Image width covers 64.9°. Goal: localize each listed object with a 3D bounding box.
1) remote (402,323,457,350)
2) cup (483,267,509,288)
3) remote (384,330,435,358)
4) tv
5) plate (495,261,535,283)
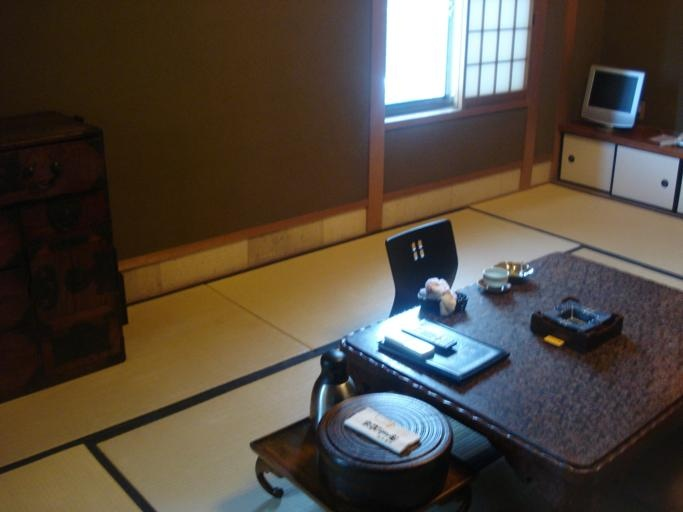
[{"bbox_3d":[0.338,0.280,2.044,0.084,0.021,0.158,-14,23,-36],"label":"remote"},{"bbox_3d":[0.694,0.087,2.426,0.085,0.056,0.094,-12,21,-28],"label":"cup"},{"bbox_3d":[0.253,0.328,2.014,0.142,0.031,0.080,19,21,37],"label":"remote"},{"bbox_3d":[2.766,-1.593,5.410,0.262,0.523,0.486,-14,31,-32],"label":"tv"},{"bbox_3d":[0.829,0.066,2.535,0.112,0.052,0.136,-26,36,-37],"label":"plate"}]
